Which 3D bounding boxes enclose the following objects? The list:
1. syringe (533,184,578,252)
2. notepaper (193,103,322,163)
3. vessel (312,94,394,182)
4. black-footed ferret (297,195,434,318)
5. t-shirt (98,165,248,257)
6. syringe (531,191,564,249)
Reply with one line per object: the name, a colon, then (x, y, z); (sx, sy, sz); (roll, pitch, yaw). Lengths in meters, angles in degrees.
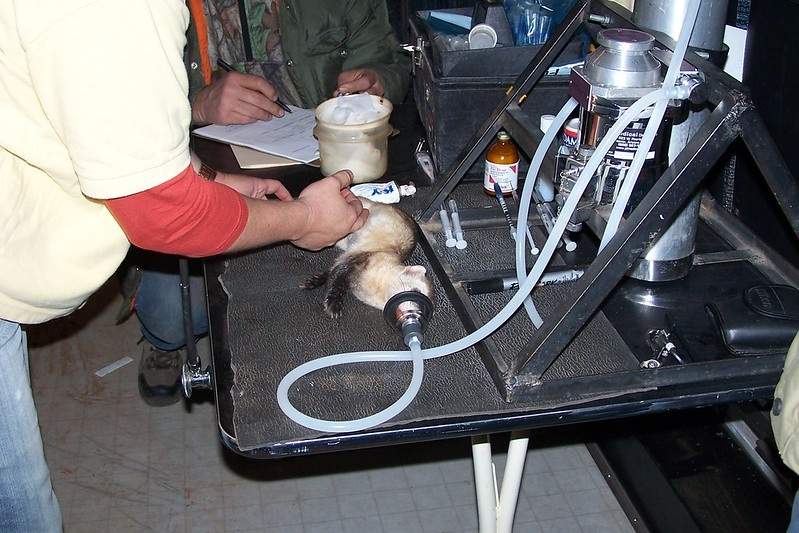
syringe: (0.348, -0.105, 1.360); (0.066, 0.028, 0.263); (32, 18, -4)
notepaper: (-0.426, -0.425, 1.944); (0.261, 0.033, 0.302); (14, 41, 14)
vessel: (-0.122, -0.360, 1.807); (0.246, 0.242, 0.250); (-18, 39, -20)
black-footed ferret: (-0.061, -0.016, 1.372); (0.232, 0.142, 0.487); (-5, 37, 4)
t-shirt: (-0.415, -0.076, 1.110); (0.209, 0.158, 0.076); (22, 52, -33)
syringe: (0.336, -0.116, 1.409); (0.054, 0.026, 0.238); (-11, 25, 1)
